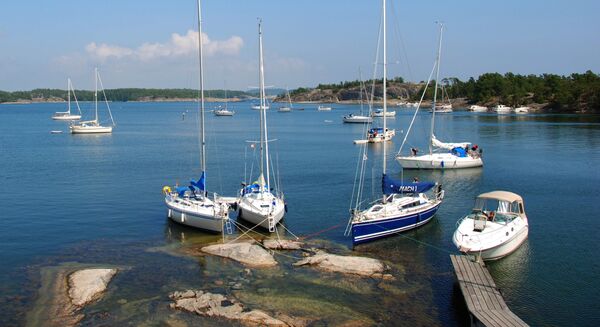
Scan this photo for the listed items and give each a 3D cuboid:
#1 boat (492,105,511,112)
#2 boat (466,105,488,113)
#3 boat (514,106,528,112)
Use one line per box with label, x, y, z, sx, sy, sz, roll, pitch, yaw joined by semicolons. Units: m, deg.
boat;88.683;-24.000;212.004;6.498;2.716;6.288;3;12;28
boat;86.201;-25.349;226.600;13.279;3.763;4.245;-1;7;-13
boat;94.502;-22.804;205.346;5.296;1.885;3.693;-3;2;-37
